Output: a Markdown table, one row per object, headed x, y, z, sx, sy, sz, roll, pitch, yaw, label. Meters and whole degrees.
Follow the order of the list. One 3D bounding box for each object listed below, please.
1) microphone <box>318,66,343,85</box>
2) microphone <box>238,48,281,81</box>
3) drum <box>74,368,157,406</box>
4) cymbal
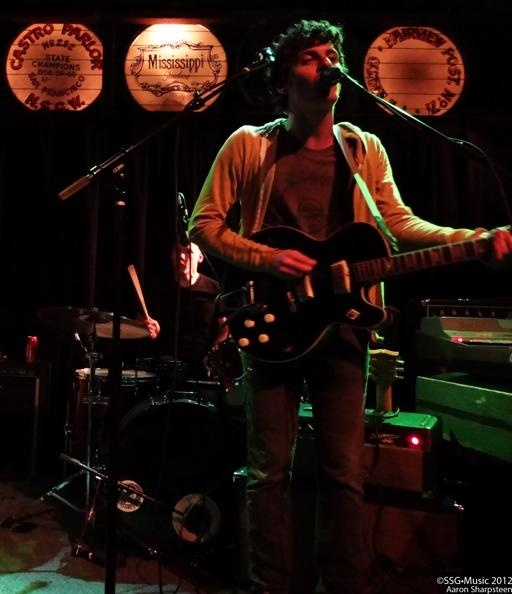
| x | y | z | sx | sy | sz | roll | pitch | yaw | label |
| --- | --- | --- | --- | --- | --- | --- | --- | --- | --- |
| 0.242 | -0.709 | 1.957 | 0.079 | 0.041 | 0.018 | -7 | -18 | 26 | microphone |
| -0.004 | -0.813 | 2.149 | 0.160 | 0.071 | 0.031 | -28 | -16 | 27 | microphone |
| -0.772 | 0.467 | 3.285 | 0.432 | 0.160 | 0.369 | 4 | -1 | -20 | drum |
| -0.828 | 0.147 | 3.254 | 0.577 | 0.140 | 0.621 | 3 | -5 | 12 | cymbal |
